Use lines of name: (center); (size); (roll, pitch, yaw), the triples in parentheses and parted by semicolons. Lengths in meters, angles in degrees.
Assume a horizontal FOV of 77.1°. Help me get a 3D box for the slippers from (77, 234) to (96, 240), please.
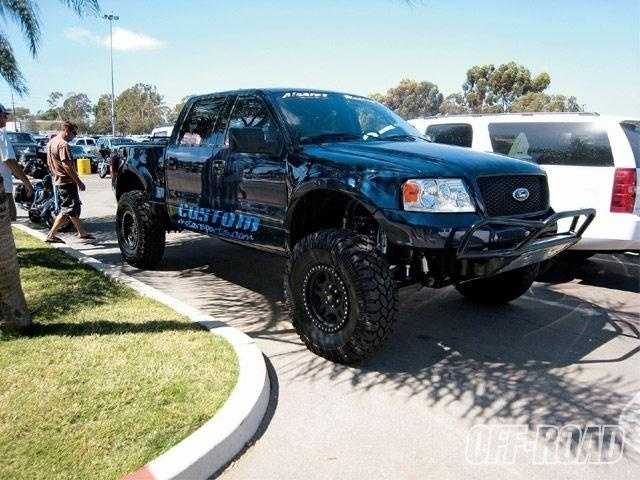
slippers: (-5.298, -0.074, 9.072); (0.413, 0.108, 0.156); (0, 2, 16)

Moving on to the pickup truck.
pickup truck: (-0.300, -0.483, 5.410); (3.052, 2.156, 5.665); (-4, 9, -42)

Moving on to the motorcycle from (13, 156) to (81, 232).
motorcycle: (-7.259, -1.191, 10.277); (1.735, 1.759, 3.003); (0, 2, -41)

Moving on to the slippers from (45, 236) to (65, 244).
slippers: (-5.365, 0.013, 8.074); (0.281, 0.121, 0.289); (-8, 14, -37)
